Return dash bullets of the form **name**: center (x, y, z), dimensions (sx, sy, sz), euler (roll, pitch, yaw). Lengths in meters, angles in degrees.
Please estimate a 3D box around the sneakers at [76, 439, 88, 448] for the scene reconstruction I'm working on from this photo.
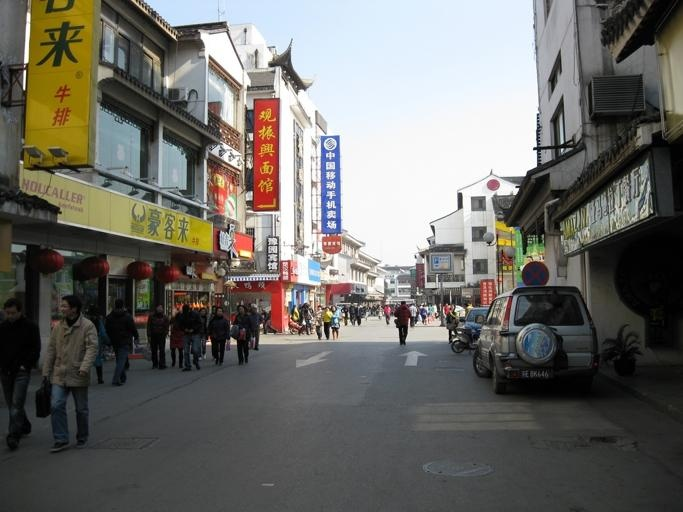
- **sneakers**: center (-4.146, 3.020, 10.879), dimensions (0.172, 0.117, 0.220), euler (1, -10, -23)

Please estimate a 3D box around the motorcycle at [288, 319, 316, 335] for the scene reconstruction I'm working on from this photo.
- **motorcycle**: center (-2.451, 4.568, 42.564), dimensions (1.753, 1.295, 0.958), euler (-1, 1, 0)

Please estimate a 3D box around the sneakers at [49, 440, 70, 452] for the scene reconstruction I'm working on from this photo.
- **sneakers**: center (-4.432, 3.031, 10.722), dimensions (0.104, 0.157, 0.327), euler (-3, -14, 9)

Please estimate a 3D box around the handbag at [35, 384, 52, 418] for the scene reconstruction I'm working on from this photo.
- **handbag**: center (-4.749, 2.302, 10.878), dimensions (0.213, 0.537, 0.373), euler (1, -9, -24)

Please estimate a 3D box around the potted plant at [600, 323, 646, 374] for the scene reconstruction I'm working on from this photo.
- **potted plant**: center (6.796, 2.278, 16.213), dimensions (1.005, 1.420, 1.268), euler (0, -7, 2)

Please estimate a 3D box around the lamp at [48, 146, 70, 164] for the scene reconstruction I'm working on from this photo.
- **lamp**: center (-6.560, -2.340, 15.826), dimensions (0.312, 0.204, 0.404), euler (3, -21, 9)

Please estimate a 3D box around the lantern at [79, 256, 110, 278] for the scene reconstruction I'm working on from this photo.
- **lantern**: center (-7.703, 0.367, 21.274), dimensions (0.688, 0.854, 0.725), euler (-1, 1, 25)

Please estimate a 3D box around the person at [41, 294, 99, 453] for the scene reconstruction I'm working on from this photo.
- **person**: center (-4.406, 1.881, 11.082), dimensions (0.821, 2.494, 0.640), euler (2, -8, -26)

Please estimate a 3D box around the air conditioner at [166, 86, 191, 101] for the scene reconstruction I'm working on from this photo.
- **air conditioner**: center (-6.586, -6.585, 27.609), dimensions (0.789, 0.695, 0.499), euler (0, -2, -9)

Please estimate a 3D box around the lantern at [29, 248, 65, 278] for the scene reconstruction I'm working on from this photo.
- **lantern**: center (-8.113, 0.197, 18.854), dimensions (0.649, 0.792, 0.713), euler (1, 2, 22)

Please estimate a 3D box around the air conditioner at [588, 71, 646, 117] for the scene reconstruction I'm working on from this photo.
- **air conditioner**: center (7.768, -4.521, 19.285), dimensions (1.577, 1.478, 0.963), euler (0, -1, 3)

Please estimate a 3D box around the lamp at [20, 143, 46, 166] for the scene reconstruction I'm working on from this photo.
- **lamp**: center (-7.196, -2.370, 15.841), dimensions (0.391, 0.508, 0.545), euler (2, 3, 10)

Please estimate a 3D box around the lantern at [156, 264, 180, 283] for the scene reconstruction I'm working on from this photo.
- **lantern**: center (-6.588, 0.672, 25.783), dimensions (0.658, 0.812, 0.705), euler (-1, 0, -2)

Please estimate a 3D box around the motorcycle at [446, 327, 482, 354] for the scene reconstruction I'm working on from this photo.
- **motorcycle**: center (4.297, 2.948, 23.610), dimensions (1.302, 1.004, 0.715), euler (4, -5, 1)

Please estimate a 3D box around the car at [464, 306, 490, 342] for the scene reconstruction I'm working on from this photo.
- **car**: center (5.036, 2.518, 24.665), dimensions (1.193, 1.392, 2.377), euler (2, -5, 19)

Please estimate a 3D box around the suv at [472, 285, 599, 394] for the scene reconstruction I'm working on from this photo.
- **suv**: center (4.098, 1.662, 14.366), dimensions (1.447, 1.618, 2.931), euler (-1, -1, 2)

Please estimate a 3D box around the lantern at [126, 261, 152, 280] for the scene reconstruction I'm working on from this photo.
- **lantern**: center (-7.086, 0.531, 23.899), dimensions (0.601, 0.750, 0.658), euler (-2, -1, 23)
